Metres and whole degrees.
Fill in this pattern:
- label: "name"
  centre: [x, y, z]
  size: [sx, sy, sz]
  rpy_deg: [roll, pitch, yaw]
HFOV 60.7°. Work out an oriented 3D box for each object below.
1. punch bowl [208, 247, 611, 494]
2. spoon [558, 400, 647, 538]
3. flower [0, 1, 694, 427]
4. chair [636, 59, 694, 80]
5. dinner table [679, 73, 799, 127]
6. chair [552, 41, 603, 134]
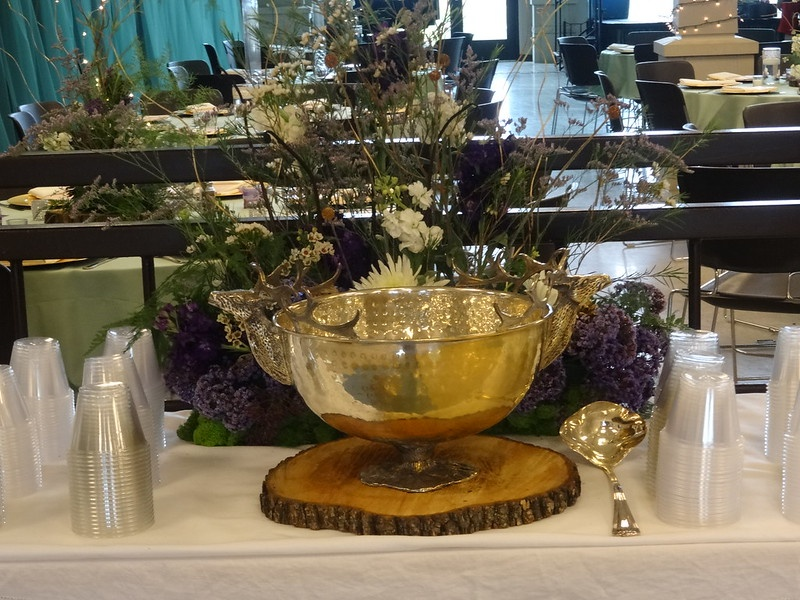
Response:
- label: "punch bowl"
  centre: [0.015, 0.077, 0.776]
  size: [0.455, 0.240, 0.271]
  rpy_deg: [-2, 10, 0]
- label: "spoon"
  centre: [0.220, 0.180, 0.717]
  size: [0.102, 0.033, 0.219]
  rpy_deg: [-3, 23, 10]
- label: "flower"
  centre: [-0.009, -0.149, 1.187]
  size: [0.909, 0.516, 0.823]
  rpy_deg: [-1, 10, -2]
- label: "chair"
  centre: [1.882, -1.615, 4.837]
  size: [0.303, 0.192, 0.288]
  rpy_deg: [7, 21, 23]
- label: "dinner table"
  centre: [2.015, -1.192, 4.196]
  size: [0.315, 0.277, 0.764]
  rpy_deg: [-9, 14, -25]
- label: "chair"
  centre: [1.844, -2.317, 6.992]
  size: [0.461, 0.560, 0.507]
  rpy_deg: [5, 17, 17]
